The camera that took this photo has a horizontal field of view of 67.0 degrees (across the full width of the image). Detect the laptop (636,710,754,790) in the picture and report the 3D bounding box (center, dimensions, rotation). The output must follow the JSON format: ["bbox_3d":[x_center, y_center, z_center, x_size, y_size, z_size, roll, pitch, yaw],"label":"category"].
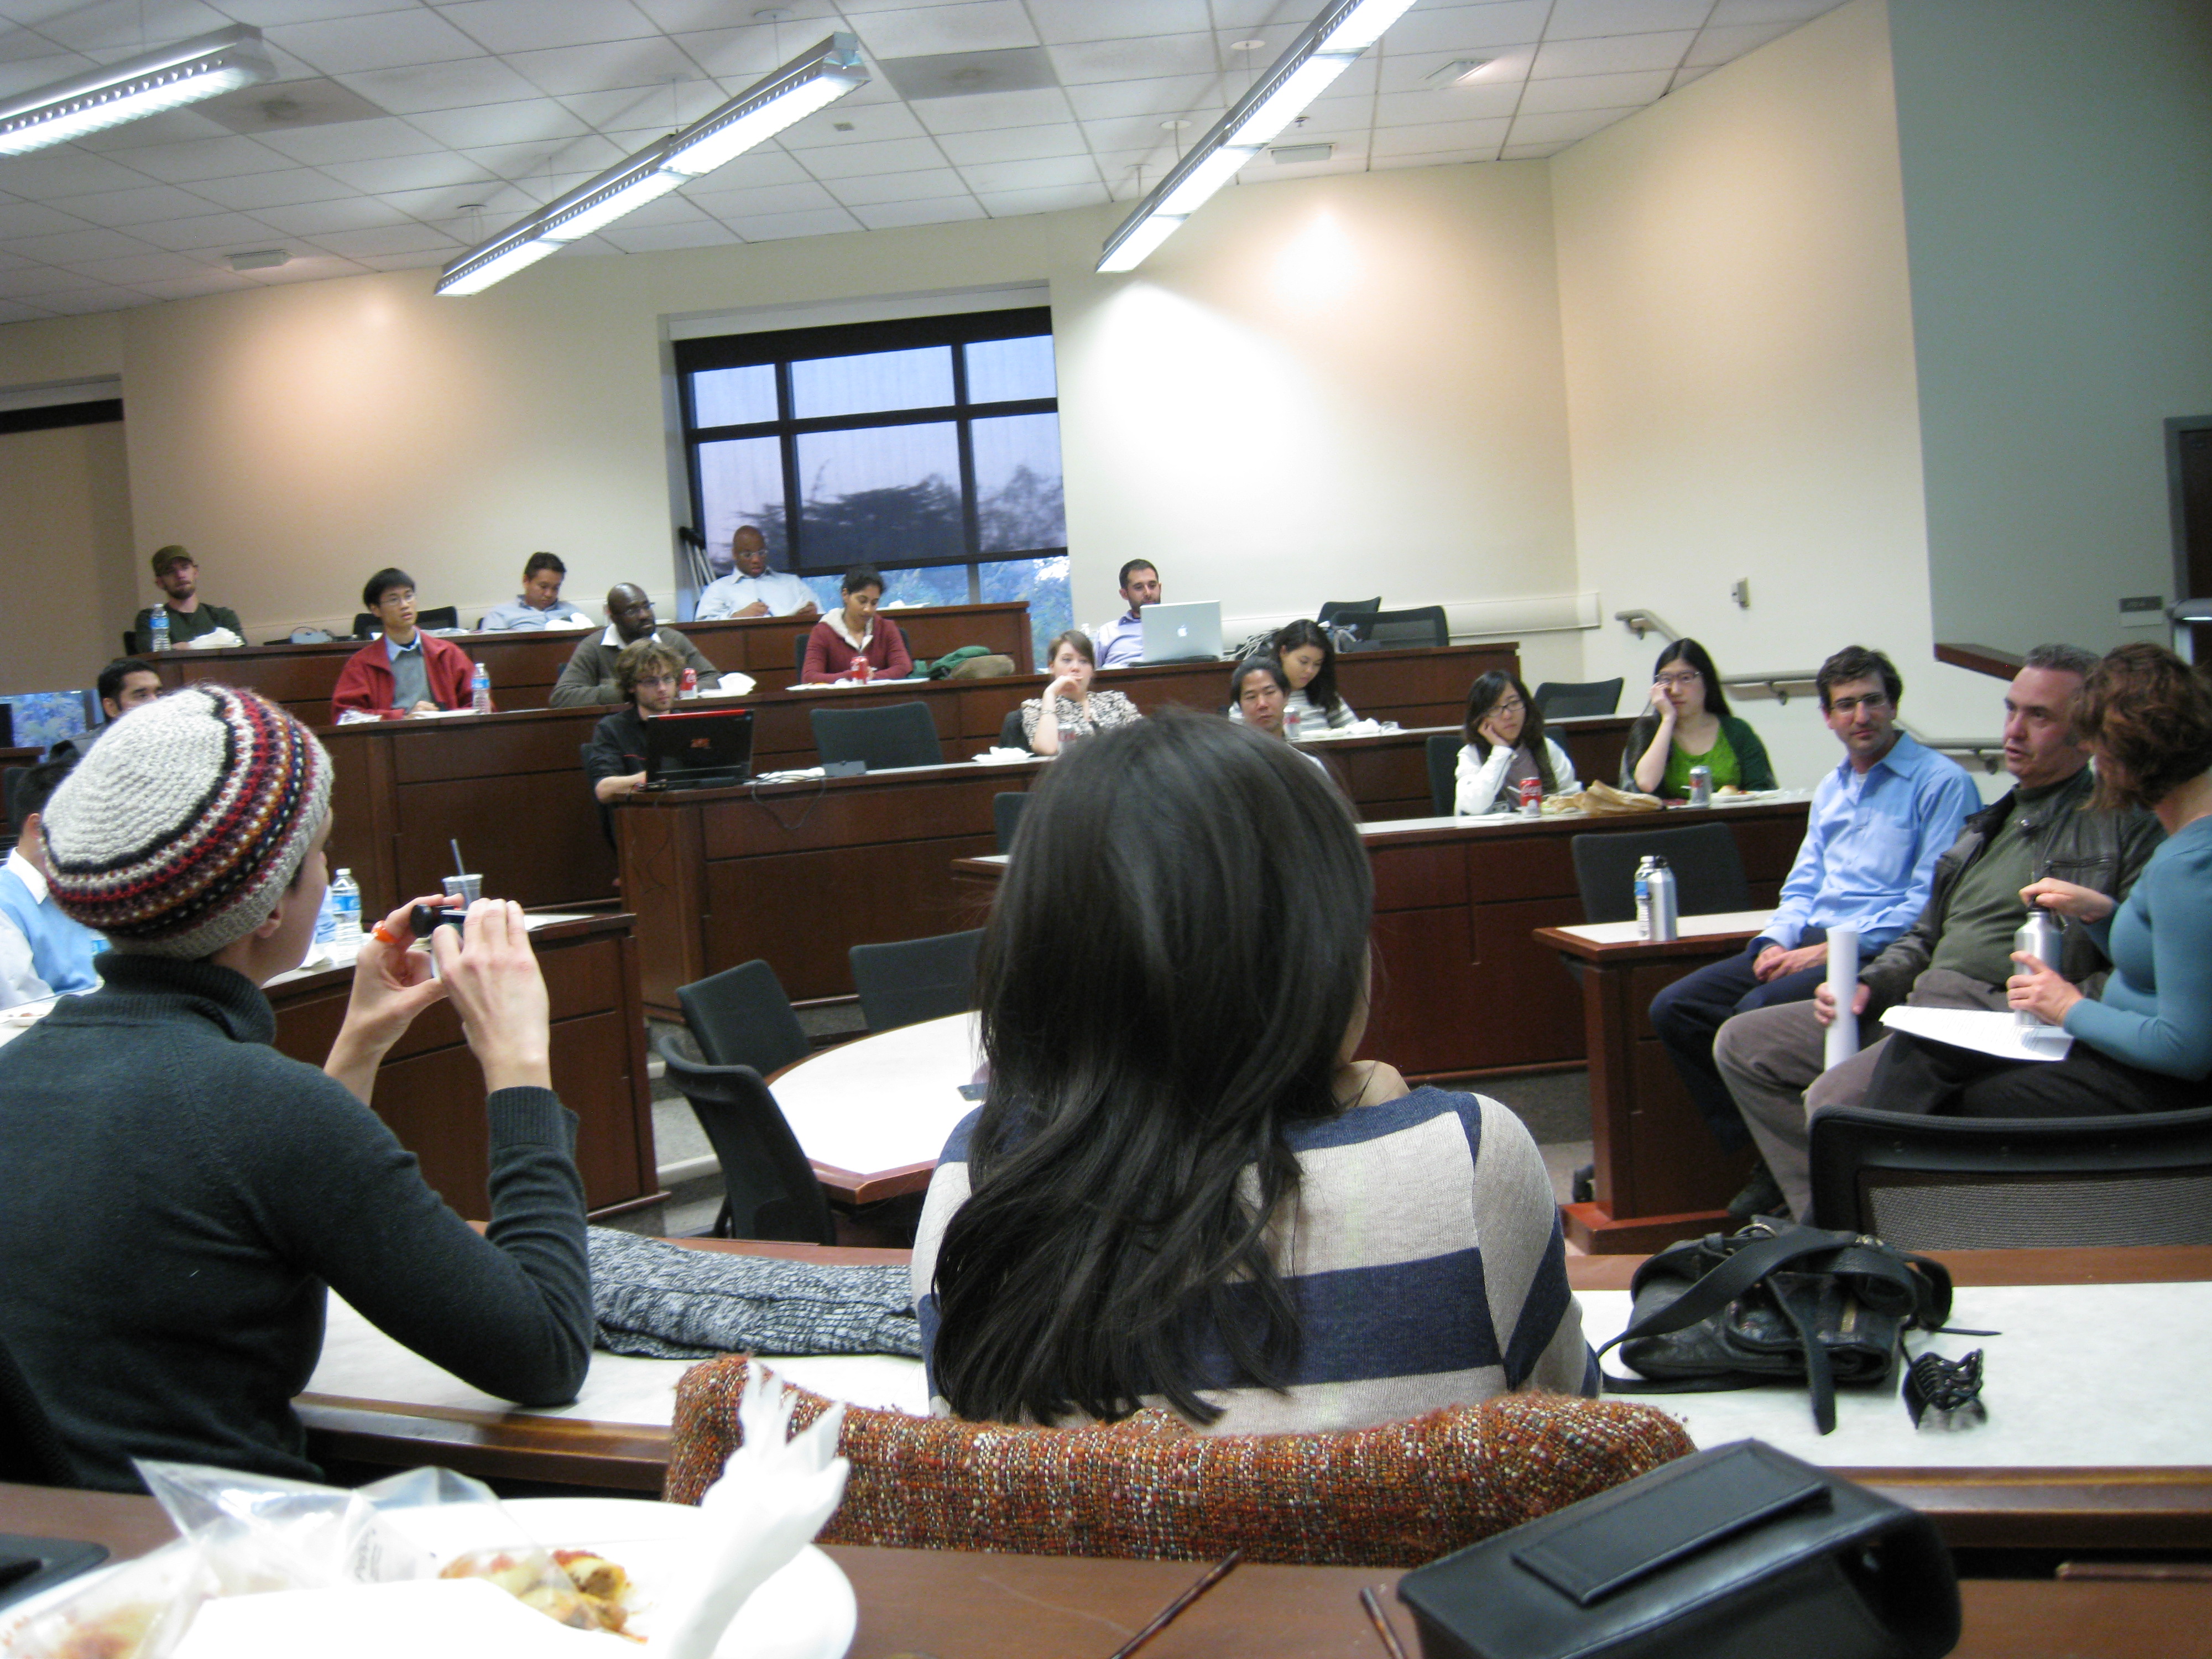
[{"bbox_3d":[-1.565,-0.379,6.505,0.345,0.264,0.287,0,15,-16],"label":"laptop"}]

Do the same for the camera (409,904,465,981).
[{"bbox_3d":[-0.740,0.124,1.865,0.057,0.087,0.032,5,4,36],"label":"camera"}]

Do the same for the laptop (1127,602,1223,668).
[{"bbox_3d":[0.374,-0.972,8.190,0.369,0.271,0.280,-1,8,-7],"label":"laptop"}]
